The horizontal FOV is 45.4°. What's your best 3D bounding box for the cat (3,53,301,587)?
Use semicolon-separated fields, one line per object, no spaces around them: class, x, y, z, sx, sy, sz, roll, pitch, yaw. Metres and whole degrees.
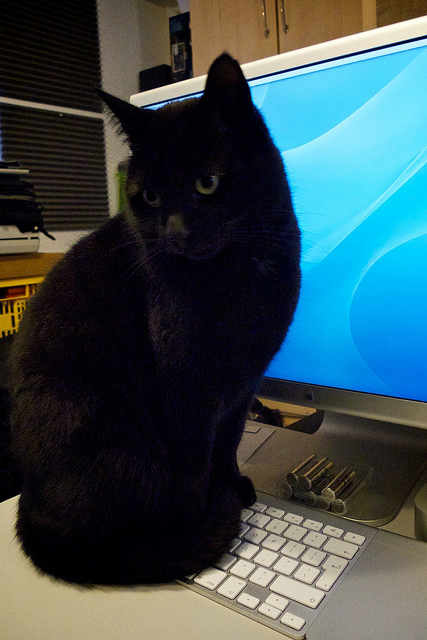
cat;-0.057;-0.001;0.450;0.272;0.416;0.147;-4;9;7

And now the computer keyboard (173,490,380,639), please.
computer keyboard;0.057;0.200;0.437;0.119;0.007;0.153;2;12;37
